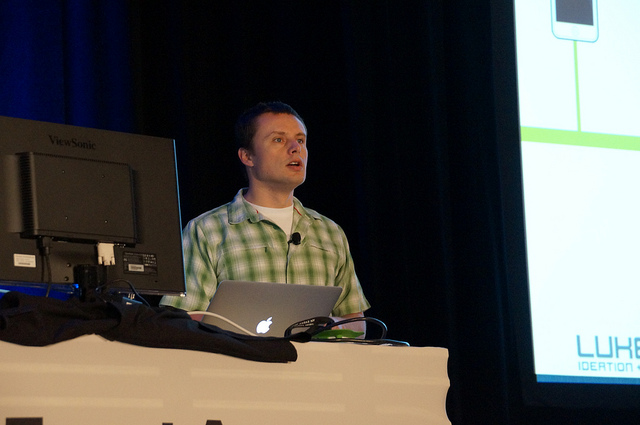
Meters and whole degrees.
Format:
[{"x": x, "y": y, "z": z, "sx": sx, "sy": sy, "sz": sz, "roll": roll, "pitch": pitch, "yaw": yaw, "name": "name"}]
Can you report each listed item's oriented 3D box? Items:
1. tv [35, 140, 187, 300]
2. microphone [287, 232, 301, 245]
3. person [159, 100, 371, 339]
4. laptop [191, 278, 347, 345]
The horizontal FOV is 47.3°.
[{"x": -0.638, "y": 0.027, "z": 2.180, "sx": 0.456, "sy": 0.412, "sz": 0.147, "roll": 2, "pitch": -7, "yaw": -38, "name": "tv"}, {"x": -0.106, "y": 0.117, "z": 3.201, "sx": 0.041, "sy": 0.029, "sz": 0.054, "roll": 6, "pitch": -22, "yaw": -15, "name": "microphone"}, {"x": -0.255, "y": 0.036, "z": 3.085, "sx": 0.817, "sy": 1.043, "sz": 0.513, "roll": 12, "pitch": -25, "yaw": -34, "name": "person"}, {"x": -0.119, "y": 0.341, "z": 2.297, "sx": 0.329, "sy": 0.235, "sz": 0.234, "roll": 9, "pitch": 14, "yaw": -27, "name": "laptop"}]
